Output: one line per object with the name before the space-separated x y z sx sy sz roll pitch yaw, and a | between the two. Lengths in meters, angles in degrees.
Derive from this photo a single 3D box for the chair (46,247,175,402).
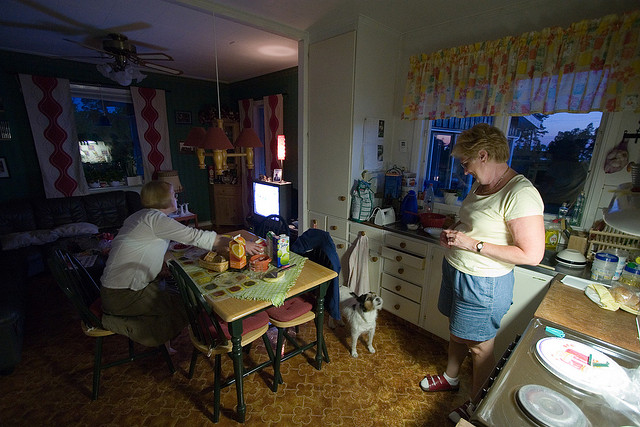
chair | -2.021 1.001 4.040 0.987 1.399 0.851 -4 19 -11

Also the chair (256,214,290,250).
chair | -0.562 0.219 4.891 0.352 0.535 0.337 1 4 8

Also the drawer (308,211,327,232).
drawer | -0.023 0.099 5.026 0.119 0.164 0.226 -9 13 -41

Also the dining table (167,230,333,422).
dining table | -0.624 0.520 4.152 1.495 1.469 2.293 -11 16 -38

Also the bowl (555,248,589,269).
bowl | 2.355 0.410 3.719 0.192 0.064 0.195 -7 16 2

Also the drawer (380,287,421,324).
drawer | 0.932 1.065 4.555 0.324 0.332 0.519 -10 17 -43

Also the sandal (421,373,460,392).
sandal | 1.159 1.671 3.948 0.384 0.154 0.141 3 15 4

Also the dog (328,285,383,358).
dog | 0.379 1.092 4.374 0.327 0.787 0.956 -5 17 -23

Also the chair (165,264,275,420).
chair | -0.929 1.105 3.885 0.922 1.382 0.802 -12 19 -42

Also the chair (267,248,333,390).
chair | -0.330 1.042 4.091 0.818 1.073 0.877 1 17 -5
